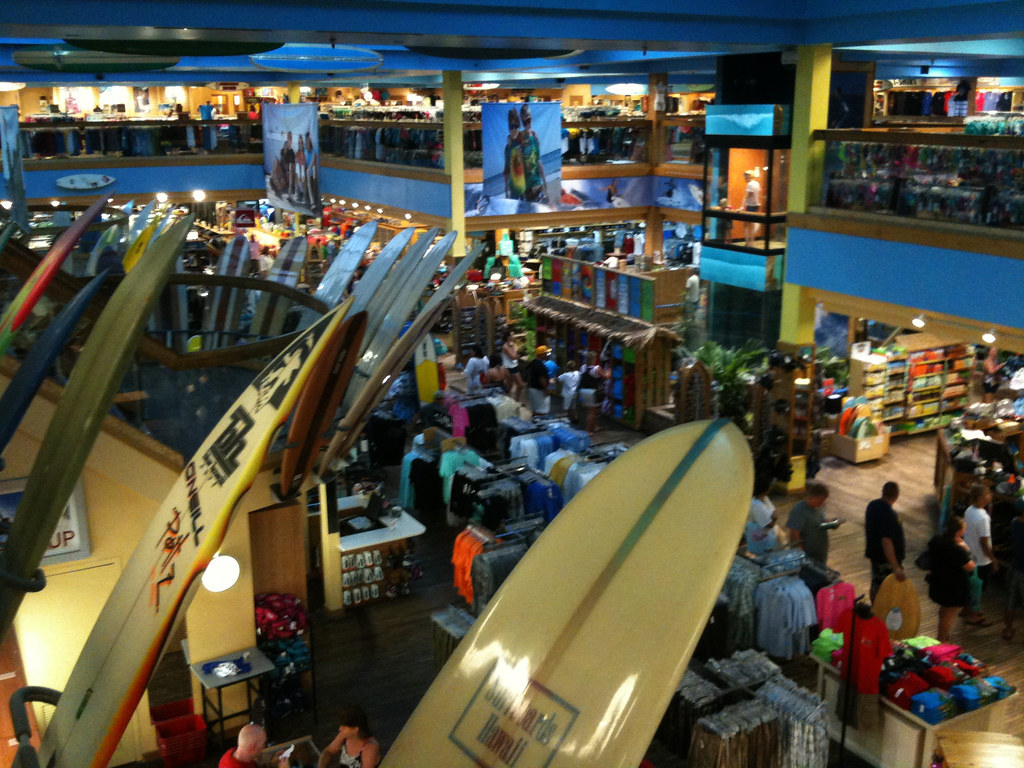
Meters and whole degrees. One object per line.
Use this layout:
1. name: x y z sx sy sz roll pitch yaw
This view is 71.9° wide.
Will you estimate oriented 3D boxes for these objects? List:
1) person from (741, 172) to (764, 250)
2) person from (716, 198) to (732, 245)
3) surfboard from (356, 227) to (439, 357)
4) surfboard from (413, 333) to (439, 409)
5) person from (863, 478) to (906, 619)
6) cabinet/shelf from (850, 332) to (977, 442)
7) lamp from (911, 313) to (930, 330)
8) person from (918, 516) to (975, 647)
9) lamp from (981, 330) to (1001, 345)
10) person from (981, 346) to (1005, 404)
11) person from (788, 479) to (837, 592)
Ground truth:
1. person: 3.755 -2.747 11.055 0.117 1.163 0.330 -10 16 -37
2. person: 3.456 -2.646 11.498 0.093 0.699 0.259 -10 16 -37
3. surfboard: -0.891 -0.796 5.402 0.172 1.485 0.368 37 -30 -21
4. surfboard: -1.609 -0.267 13.158 0.476 1.639 0.072 -19 33 -29
5. person: 4.125 1.840 7.848 0.388 1.554 0.837 5 14 20
6. cabinet/shelf: 7.190 0.103 12.711 2.226 1.230 0.743 -9 16 -28
7. lamp: 5.550 -0.845 9.637 0.177 0.228 0.222 2 12 9
8. person: 4.674 2.130 7.653 0.486 1.627 0.617 9 16 33
9. lamp: 6.053 -0.596 8.978 0.081 0.187 0.171 -7 14 -27
10. person: 9.503 -0.203 13.946 0.331 1.002 1.344 9 15 34
11. person: 3.354 1.622 7.927 0.467 0.966 1.046 5 13 21
